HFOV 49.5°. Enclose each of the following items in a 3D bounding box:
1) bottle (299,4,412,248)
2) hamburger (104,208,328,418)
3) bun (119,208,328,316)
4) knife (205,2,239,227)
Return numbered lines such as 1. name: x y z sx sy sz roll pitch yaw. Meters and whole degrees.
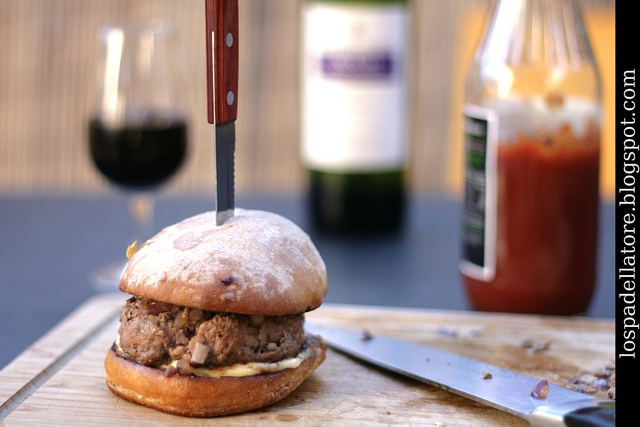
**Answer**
1. bottle: 0.097 -0.214 1.791 0.295 0.629 0.296 0 11 0
2. hamburger: -0.189 0.157 1.301 0.297 0.394 0.331 3 11 34
3. bun: -0.176 0.071 1.267 0.260 0.225 0.280 3 11 44
4. knife: -0.175 -0.185 1.268 0.056 0.398 0.114 -1 11 -6
